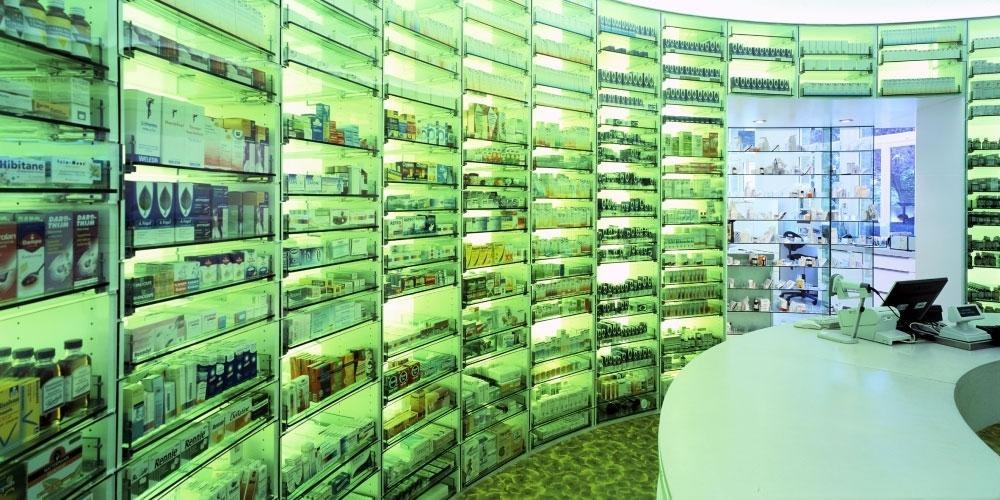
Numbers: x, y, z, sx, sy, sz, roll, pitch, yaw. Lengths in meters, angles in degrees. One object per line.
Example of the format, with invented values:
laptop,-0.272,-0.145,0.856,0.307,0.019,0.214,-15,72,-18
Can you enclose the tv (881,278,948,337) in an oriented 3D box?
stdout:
tv,4.885,0.698,8.014,0.804,0.641,0.382,0,20,-15
